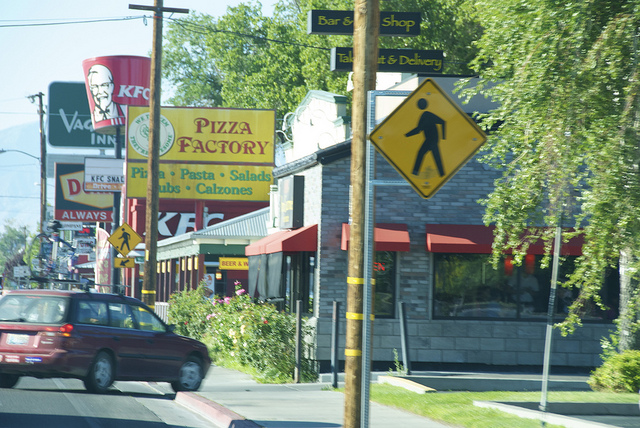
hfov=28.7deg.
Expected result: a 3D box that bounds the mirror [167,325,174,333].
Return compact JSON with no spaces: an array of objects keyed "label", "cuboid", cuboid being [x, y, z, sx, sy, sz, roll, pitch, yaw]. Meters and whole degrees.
[{"label":"mirror","cuboid":[-3.932,2.977,32.559,0.151,0.193,0.313,1,-4,5]}]

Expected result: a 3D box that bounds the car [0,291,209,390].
[{"label":"car","cuboid":[-5.574,3.203,31.490,4.728,2.360,1.131,4,-5,-31]}]

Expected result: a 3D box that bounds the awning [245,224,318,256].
[{"label":"awning","cuboid":[-1.092,0.714,36.666,1.093,0.828,3.020,3,-4,-20]}]

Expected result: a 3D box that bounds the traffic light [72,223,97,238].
[{"label":"traffic light","cuboid":[-16.035,1.075,84.353,1.938,0.938,1.324,2,1,-41]}]
